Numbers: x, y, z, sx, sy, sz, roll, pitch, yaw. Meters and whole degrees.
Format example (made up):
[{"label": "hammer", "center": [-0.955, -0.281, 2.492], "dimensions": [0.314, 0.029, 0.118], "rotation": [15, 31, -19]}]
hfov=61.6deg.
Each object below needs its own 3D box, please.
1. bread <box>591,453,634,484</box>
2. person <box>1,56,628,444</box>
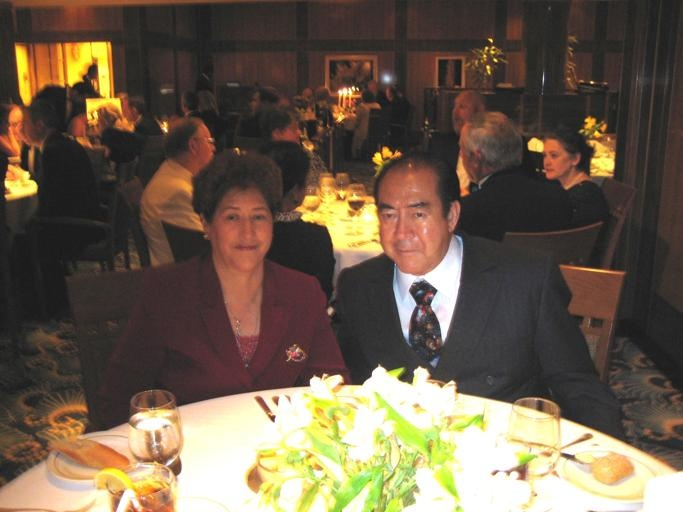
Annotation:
[{"label": "bread", "center": [0.610, 0.477, 1.293], "dimensions": [0.090, 0.039, 0.055], "rotation": [-9, 14, -25]}, {"label": "person", "center": [0.312, 0.013, 2.215], "dimensions": [1.243, 1.254, 0.944], "rotation": [-2, 1, 38]}]
